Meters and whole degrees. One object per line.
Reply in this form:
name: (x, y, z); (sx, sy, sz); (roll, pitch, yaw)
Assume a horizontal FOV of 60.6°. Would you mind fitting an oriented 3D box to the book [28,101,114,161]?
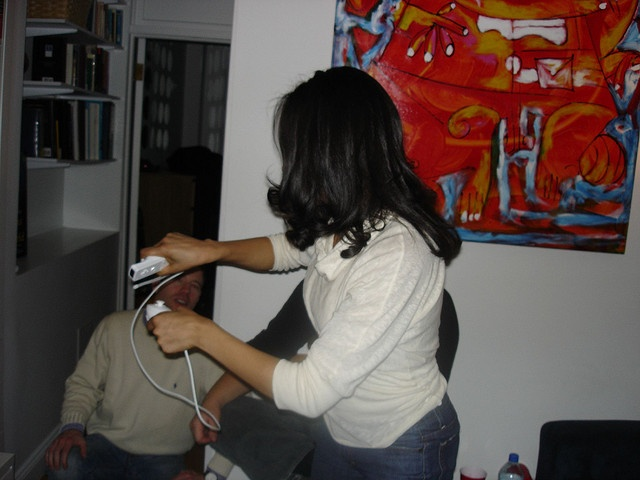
book: (-1.633, -0.717, 3.501); (0.233, 0.481, 0.443); (4, 1, 31)
